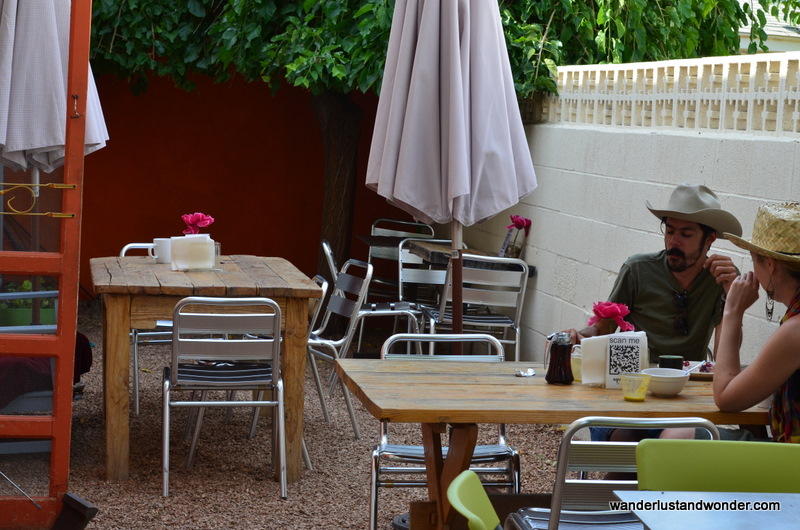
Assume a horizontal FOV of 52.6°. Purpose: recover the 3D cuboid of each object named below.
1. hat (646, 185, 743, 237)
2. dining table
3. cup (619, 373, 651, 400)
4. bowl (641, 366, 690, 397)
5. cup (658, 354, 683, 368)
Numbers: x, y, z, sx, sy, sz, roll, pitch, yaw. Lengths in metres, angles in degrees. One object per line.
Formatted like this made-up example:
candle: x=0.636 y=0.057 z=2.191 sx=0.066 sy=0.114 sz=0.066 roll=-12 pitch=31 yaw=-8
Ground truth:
hat: x=1.769 y=-0.369 z=4.995 sx=0.546 sy=0.251 sz=0.656 roll=7 pitch=0 yaw=38
dining table: x=-1.665 y=0.786 z=6.277 sx=1.697 sy=1.293 sz=1.340 roll=2 pitch=1 yaw=-37
cup: x=1.106 y=0.580 z=3.851 sx=0.120 sy=0.103 sz=0.129 roll=1 pitch=4 yaw=0
bowl: x=1.304 y=0.572 z=3.996 sx=0.159 sy=0.080 sz=0.163 roll=-1 pitch=2 yaw=0
cup: x=1.391 y=0.502 z=4.180 sx=0.100 sy=0.074 sz=0.078 roll=1 pitch=-2 yaw=15
